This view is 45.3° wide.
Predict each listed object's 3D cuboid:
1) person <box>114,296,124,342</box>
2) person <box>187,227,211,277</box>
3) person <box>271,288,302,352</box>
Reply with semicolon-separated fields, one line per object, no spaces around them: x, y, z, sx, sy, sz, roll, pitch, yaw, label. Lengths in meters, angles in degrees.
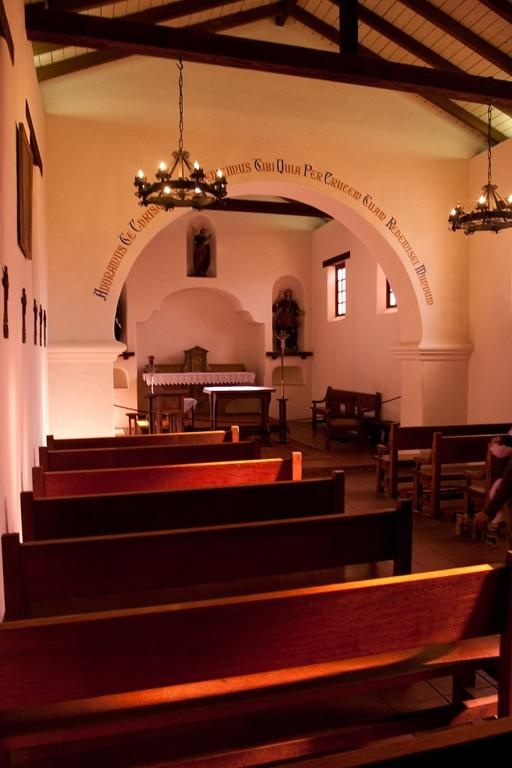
-3.087;-1.481;13.913;0.191;0.997;0.571;-1;6;-12;person
-1.354;-3.152;14.570;0.446;1.165;0.525;3;7;26;person
0.756;-1.597;15.326;0.827;1.581;0.554;-1;6;-12;person
